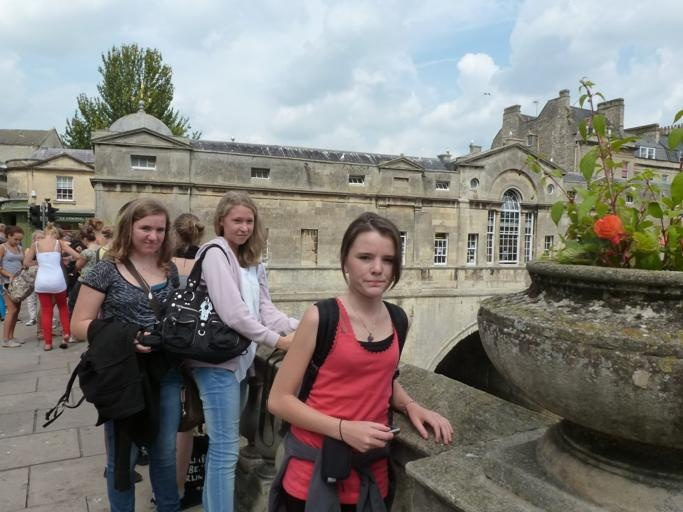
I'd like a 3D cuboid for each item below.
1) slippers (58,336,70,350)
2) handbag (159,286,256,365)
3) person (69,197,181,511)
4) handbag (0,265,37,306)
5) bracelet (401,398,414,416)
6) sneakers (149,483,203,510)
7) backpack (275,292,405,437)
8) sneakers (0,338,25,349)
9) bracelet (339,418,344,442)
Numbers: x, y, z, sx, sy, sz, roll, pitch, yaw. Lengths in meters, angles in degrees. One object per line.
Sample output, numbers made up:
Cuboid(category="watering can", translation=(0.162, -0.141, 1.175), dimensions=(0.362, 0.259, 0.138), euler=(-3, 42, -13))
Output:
Cuboid(category="slippers", translation=(-4.138, 1.290, 8.572), dimensions=(0.077, 0.178, 0.166), euler=(1, 24, -11))
Cuboid(category="handbag", translation=(-0.801, 0.403, 3.412), dimensions=(0.494, 0.412, 0.235), euler=(3, 4, 13))
Cuboid(category="person", translation=(-1.351, 0.677, 3.649), dimensions=(0.649, 2.089, 0.626), euler=(0, 5, -21))
Cuboid(category="handbag", translation=(-4.892, 0.439, 8.810), dimensions=(0.260, 0.596, 0.464), euler=(35, 25, -17))
Cuboid(category="bracelet", translation=(0.346, 0.755, 2.909), dimensions=(0.030, 0.066, 0.051), euler=(-9, -36, 32))
Cuboid(category="sneakers", translation=(-1.093, 1.589, 3.830), dimensions=(0.296, 0.225, 0.176), euler=(-5, 10, 1))
Cuboid(category="backpack", translation=(-0.045, 0.534, 2.603), dimensions=(0.576, 0.603, 0.124), euler=(4, 5, 22))
Cuboid(category="sneakers", translation=(-4.888, 1.284, 8.535), dimensions=(0.272, 0.118, 0.127), euler=(0, 5, -11))
Cuboid(category="bracelet", translation=(0.007, 0.773, 2.567), dimensions=(0.018, 0.089, 0.033), euler=(1, 4, -9))
